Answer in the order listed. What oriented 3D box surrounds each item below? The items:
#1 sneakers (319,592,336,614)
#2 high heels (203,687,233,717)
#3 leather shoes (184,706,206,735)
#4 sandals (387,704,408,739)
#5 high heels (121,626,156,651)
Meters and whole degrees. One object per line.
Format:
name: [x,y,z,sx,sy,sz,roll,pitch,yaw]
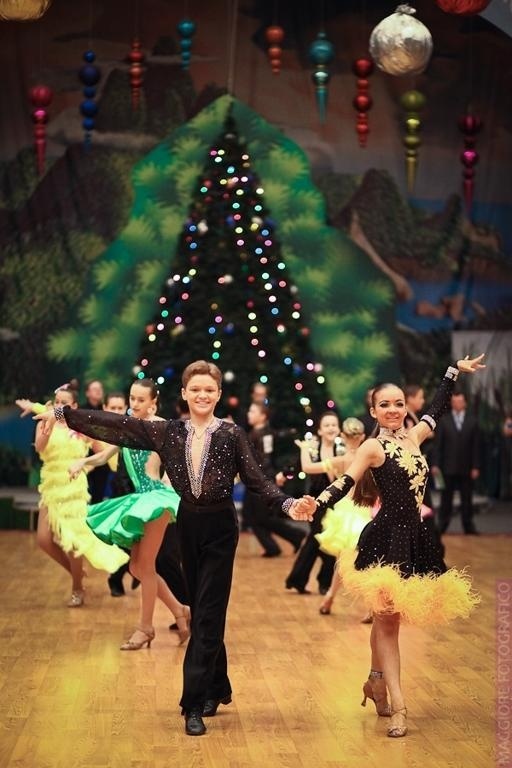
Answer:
sneakers: [0.511,1.597,5.264,0.070,0.188,0.072,12,-19,16]
high heels: [-0.153,1.302,2.997,0.058,0.069,0.167,-7,-5,22]
leather shoes: [-0.224,1.263,2.726,0.074,0.052,0.128,-2,14,-8]
sandals: [0.528,1.264,2.727,0.050,0.055,0.135,-2,-8,7]
high heels: [-0.641,1.435,4.133,0.221,0.102,0.080,9,-14,-41]
